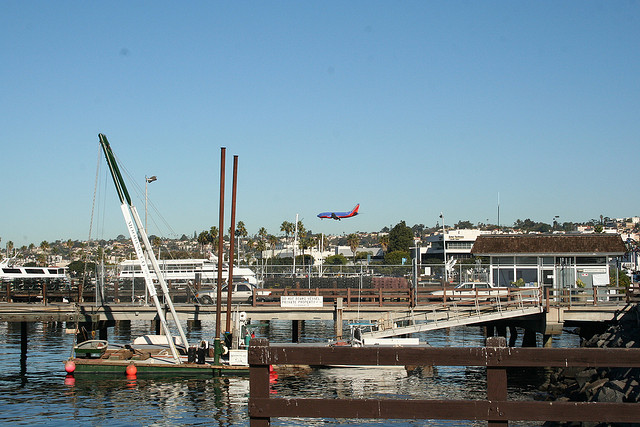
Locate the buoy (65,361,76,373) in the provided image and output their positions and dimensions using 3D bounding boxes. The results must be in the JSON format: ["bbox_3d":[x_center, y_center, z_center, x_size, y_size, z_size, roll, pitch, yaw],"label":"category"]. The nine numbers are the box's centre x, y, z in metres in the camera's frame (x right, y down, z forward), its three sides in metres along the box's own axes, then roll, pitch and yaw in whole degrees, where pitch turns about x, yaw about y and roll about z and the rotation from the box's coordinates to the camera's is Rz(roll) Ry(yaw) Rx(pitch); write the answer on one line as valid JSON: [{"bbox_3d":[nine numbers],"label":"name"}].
[{"bbox_3d":[-15.732,9.707,69.188,0.613,0.701,0.609,-3,7,6],"label":"buoy"}]

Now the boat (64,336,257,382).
[{"bbox_3d":[-9.445,9.574,72.246,13.115,2.270,7.250,1,0,0],"label":"boat"}]

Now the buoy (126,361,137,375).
[{"bbox_3d":[-11.844,9.801,68.987,0.599,0.780,0.594,3,-5,9],"label":"buoy"}]

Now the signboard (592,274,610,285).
[{"bbox_3d":[19.696,4.678,77.647,0.910,0.706,2.185,-2,0,24],"label":"signboard"}]

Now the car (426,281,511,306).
[{"bbox_3d":[10.937,5.605,76.296,5.274,1.352,2.513,-1,-3,4],"label":"car"}]

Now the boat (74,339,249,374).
[{"bbox_3d":[-10.148,9.121,70.194,11.644,1.894,3.142,-1,0,7],"label":"boat"}]

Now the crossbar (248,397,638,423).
[{"bbox_3d":[5.233,8.664,48.446,16.360,1.153,0.239,-1,0,1],"label":"crossbar"}]

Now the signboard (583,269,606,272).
[{"bbox_3d":[20.225,4.238,81.413,1.715,0.233,0.353,2,2,31],"label":"signboard"}]
